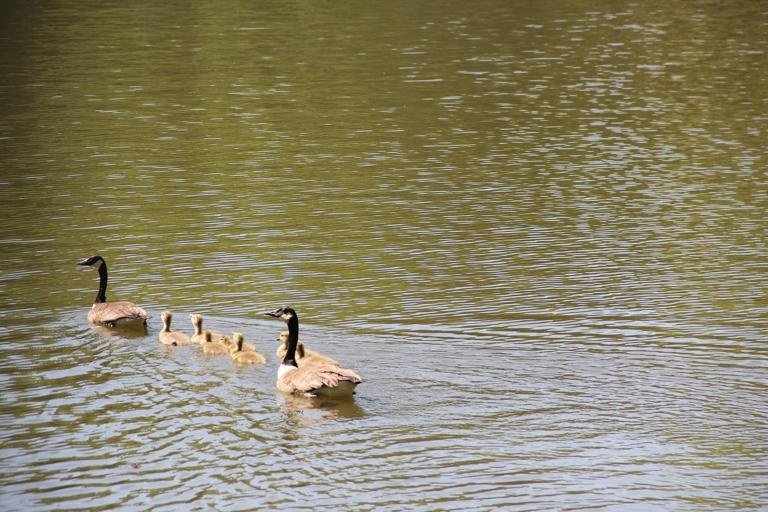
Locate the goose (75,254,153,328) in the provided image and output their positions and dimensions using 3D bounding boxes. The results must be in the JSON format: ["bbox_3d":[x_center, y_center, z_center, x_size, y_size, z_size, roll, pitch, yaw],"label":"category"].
[{"bbox_3d":[-8.021,1.122,26.657,1.641,1.482,3.320,-4,32,-23],"label":"goose"}]
